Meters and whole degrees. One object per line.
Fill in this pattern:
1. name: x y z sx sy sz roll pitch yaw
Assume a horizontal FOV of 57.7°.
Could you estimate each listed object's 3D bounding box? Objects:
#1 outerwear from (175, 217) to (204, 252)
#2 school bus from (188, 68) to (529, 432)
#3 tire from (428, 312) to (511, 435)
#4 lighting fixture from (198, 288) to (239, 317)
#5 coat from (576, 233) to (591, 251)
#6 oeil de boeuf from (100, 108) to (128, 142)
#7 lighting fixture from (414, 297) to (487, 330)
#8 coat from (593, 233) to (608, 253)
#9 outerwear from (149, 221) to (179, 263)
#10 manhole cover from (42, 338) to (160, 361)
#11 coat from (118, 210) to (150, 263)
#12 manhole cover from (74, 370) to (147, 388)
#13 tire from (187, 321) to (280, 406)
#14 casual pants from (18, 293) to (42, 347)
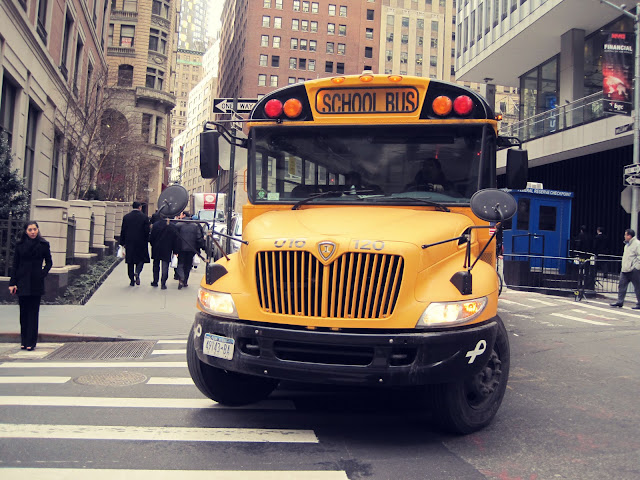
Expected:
1. outerwear: -2.900 -0.114 12.924 0.796 0.933 0.515 0 -6 -5
2. school bus: 0.889 0.092 8.577 3.339 4.228 6.775 1 -1 13
3. tire: 1.422 1.281 5.641 0.325 0.985 0.875 -10 -33 44
4. lighting fixture: -1.039 0.615 5.806 0.145 0.234 0.651 -1 4 -36
5. coat: 10.513 0.067 23.168 0.625 0.785 0.410 -1 -4 10
6. oeil de boeuf: -9.848 -5.550 27.856 0.913 1.586 2.586 1 4 -5
7. lighting fixture: 1.253 0.670 5.421 0.764 0.242 0.103 0 4 -26
8. coat: 10.322 0.120 21.426 0.417 0.754 0.890 3 4 25
9. outerwear: -4.031 -0.018 15.137 0.745 1.391 0.382 10 32 -7
10. manhole cover: -3.437 1.744 9.275 1.487 0.043 1.359 1 4 -10
11. coat: -4.808 0.003 15.201 0.712 1.808 0.568 1 3 -13
12. manhole cover: -2.705 1.804 7.564 0.882 0.027 0.749 0 4 -19
13. tire: -0.865 1.229 5.884 0.933 1.022 0.363 -7 3 -37
14. casual pants: -4.620 1.283 9.280 0.294 0.844 0.292 0 3 -21
